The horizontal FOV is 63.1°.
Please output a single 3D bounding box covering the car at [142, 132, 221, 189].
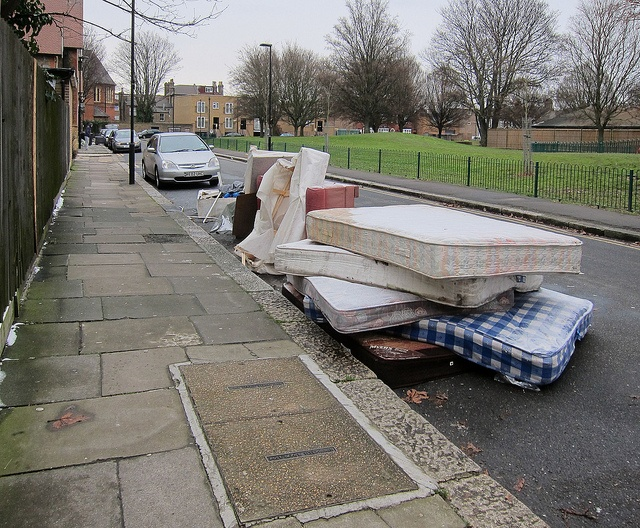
[{"bbox_3d":[-4.784,-3.602,18.324,2.230,1.850,2.299,-1,13,-19],"label":"car"}]
